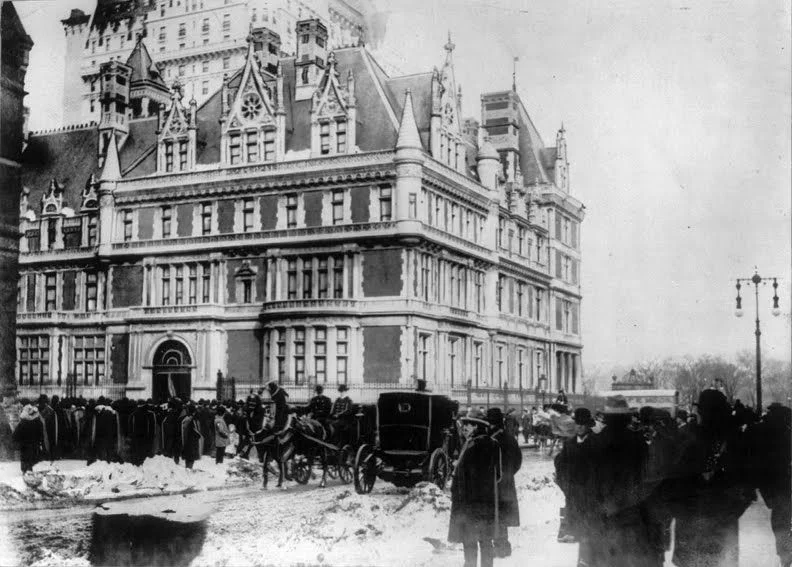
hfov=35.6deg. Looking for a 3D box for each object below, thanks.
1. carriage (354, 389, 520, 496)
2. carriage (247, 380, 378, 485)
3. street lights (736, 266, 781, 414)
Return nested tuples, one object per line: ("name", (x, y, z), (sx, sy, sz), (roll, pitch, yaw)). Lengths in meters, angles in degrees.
("carriage", (0.644, 5.043, 39.492), (2.798, 3.279, 4.677), (-2, -3, 23))
("carriage", (-2.678, 4.967, 40.968), (1.620, 3.346, 5.113), (-1, -6, 13))
("street lights", (10.392, 2.322, 35.306), (0.656, 5.154, 0.529), (1, -3, 16))
